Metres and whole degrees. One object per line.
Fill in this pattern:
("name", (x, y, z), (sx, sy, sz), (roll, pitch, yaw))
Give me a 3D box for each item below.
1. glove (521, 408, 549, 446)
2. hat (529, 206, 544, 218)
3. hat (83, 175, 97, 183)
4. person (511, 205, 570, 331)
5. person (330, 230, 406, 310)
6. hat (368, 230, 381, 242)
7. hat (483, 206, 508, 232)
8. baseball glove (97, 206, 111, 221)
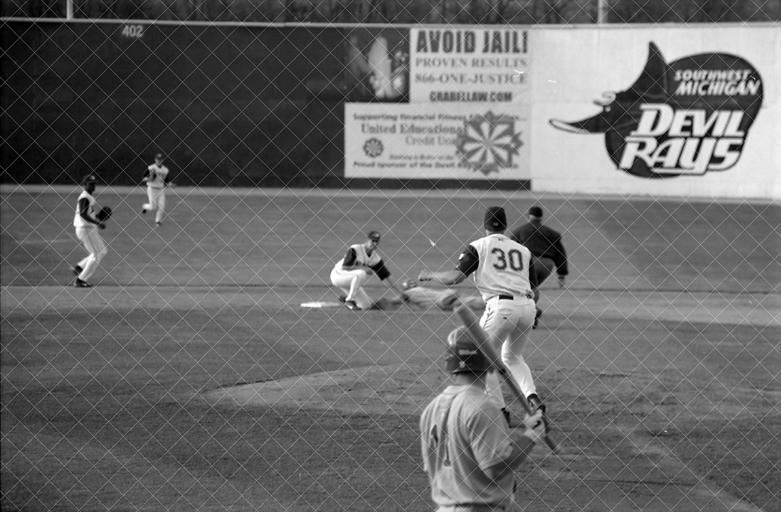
("glove", (1.600, 1.876, 18.093), (0.254, 0.360, 0.439), (3, 17, 8))
("hat", (2.081, -0.672, 23.052), (0.181, 0.113, 0.174), (4, -8, -27))
("hat", (-4.506, -1.177, 24.124), (0.213, 0.077, 0.229), (-3, 7, 15))
("person", (2.168, 0.006, 23.587), (0.733, 1.497, 0.447), (6, 31, 14))
("person", (-0.463, 0.194, 24.253), (1.395, 1.579, 0.781), (-1, -6, 19))
("hat", (-0.265, -0.305, 23.689), (0.143, 0.139, 0.162), (9, 5, 3))
("hat", (1.316, -0.474, 20.563), (0.262, 0.355, 0.271), (1, 16, 1))
("baseball glove", (-4.467, -0.678, 24.994), (0.186, 0.206, 0.199), (3, 45, 49))
